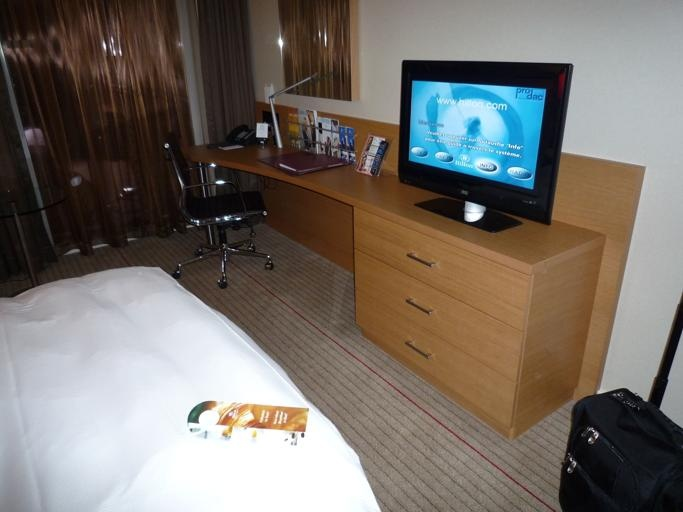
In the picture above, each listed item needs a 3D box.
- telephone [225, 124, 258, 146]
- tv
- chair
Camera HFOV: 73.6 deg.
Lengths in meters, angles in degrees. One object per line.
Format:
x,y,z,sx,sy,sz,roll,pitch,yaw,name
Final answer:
-0.842,-1.017,3.880,0.265,0.110,0.210,20,43,36,telephone
0.716,-0.521,2.165,0.186,0.616,0.714,-21,37,-35,tv
-0.950,-0.388,3.576,0.779,1.056,0.761,0,20,-8,chair
